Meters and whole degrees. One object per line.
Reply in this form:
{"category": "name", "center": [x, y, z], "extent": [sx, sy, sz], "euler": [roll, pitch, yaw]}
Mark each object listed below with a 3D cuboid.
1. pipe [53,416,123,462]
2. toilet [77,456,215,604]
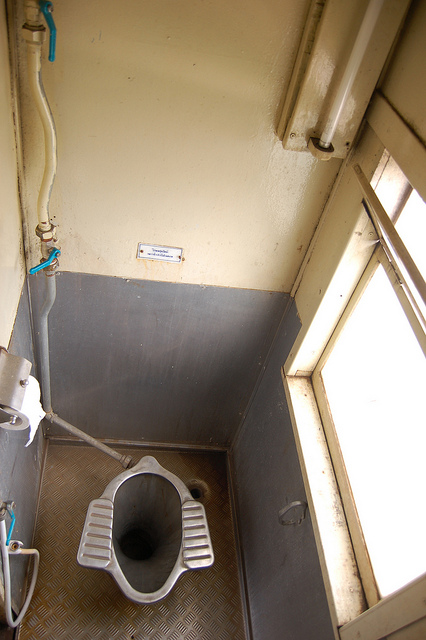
{"category": "pipe", "center": [-0.608, 0.562, 2.235], "extent": [0.388, 0.057, 0.065], "euler": [46, -16, -25]}
{"category": "toilet", "center": [-0.275, 0.880, 1.844], "extent": [0.420, 0.498, 0.498], "euler": [9, 53, -10]}
